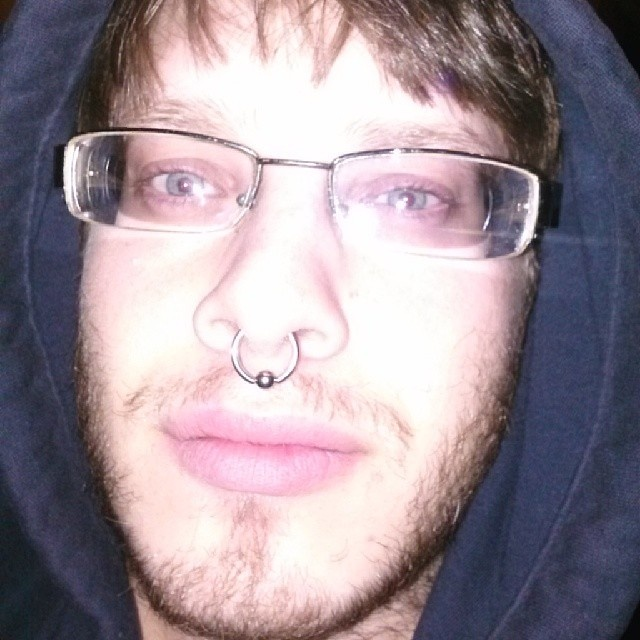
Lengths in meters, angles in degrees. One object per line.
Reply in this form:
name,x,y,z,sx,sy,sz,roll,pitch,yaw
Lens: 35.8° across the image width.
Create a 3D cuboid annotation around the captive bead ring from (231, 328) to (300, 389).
captive bead ring,-0.083,0.043,1.413,0.069,0.100,0.030,-3,5,-1
